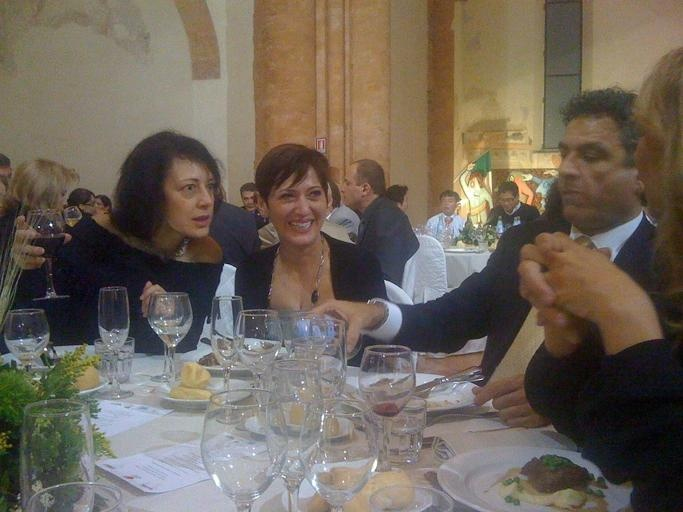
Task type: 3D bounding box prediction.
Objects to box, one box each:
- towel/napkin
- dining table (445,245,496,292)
[{"bbox_3d":[-0.453,0.184,1.909,0.137,0.338,0.173,-12,-30,24],"label":"towel/napkin"},{"bbox_3d":[1.112,0.080,5.207,0.443,0.461,0.459,0,1,-27],"label":"dining table"}]
